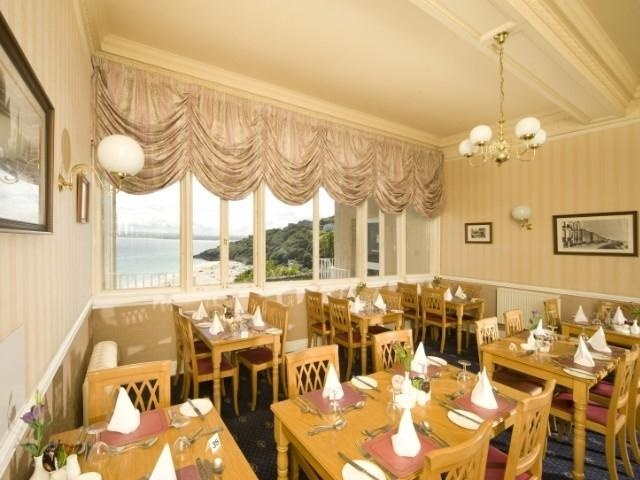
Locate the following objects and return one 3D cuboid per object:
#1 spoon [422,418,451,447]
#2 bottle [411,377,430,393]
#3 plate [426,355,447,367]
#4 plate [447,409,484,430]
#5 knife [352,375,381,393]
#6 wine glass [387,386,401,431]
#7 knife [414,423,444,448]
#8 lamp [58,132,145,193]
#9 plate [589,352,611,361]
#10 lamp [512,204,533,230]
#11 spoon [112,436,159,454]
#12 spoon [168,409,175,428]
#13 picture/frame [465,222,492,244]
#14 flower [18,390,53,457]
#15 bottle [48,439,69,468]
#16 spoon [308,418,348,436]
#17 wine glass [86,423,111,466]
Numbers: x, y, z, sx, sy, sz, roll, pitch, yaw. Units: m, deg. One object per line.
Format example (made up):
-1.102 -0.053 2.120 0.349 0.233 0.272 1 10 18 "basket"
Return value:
0.902 1.524 3.447 0.066 0.064 0.364 6 -1 -8 "spoon"
0.893 1.272 3.831 0.237 0.110 0.112 0 -3 -37 "bottle"
1.207 1.244 4.473 0.185 0.069 0.202 -3 -3 10 "plate"
1.206 1.486 3.604 0.277 0.132 0.193 -4 -3 22 "plate"
0.418 1.338 4.062 0.251 0.087 0.245 -2 -3 -17 "knife"
0.623 1.396 3.629 0.104 0.237 0.290 -3 -2 20 "wine glass"
0.874 1.547 3.446 0.070 0.058 0.363 6 -2 -13 "knife"
-2.244 -0.847 4.409 0.821 0.698 0.521 -6 -3 6 "lamp"
2.991 1.235 4.594 0.181 0.043 0.226 -5 -4 29 "plate"
3.477 -0.373 7.435 0.336 0.558 0.357 0 -1 -19 "lamp"
-1.427 1.572 3.323 0.283 0.056 0.057 5 18 -35 "spoon"
-1.229 1.463 3.593 0.045 0.020 0.161 6 9 -26 "spoon"
3.028 -0.117 8.260 0.049 0.364 0.590 -1 -3 -32 "picture/frame"
-2.035 1.306 3.073 0.152 0.526 0.572 -1 -3 -33 "flower"
-1.851 1.506 3.062 0.132 0.162 0.055 -5 -19 -30 "bottle"
0.063 1.508 3.521 0.238 0.047 0.114 -3 -8 -18 "spoon"
-1.626 1.465 3.224 0.144 0.277 0.175 -24 -28 17 "wine glass"
